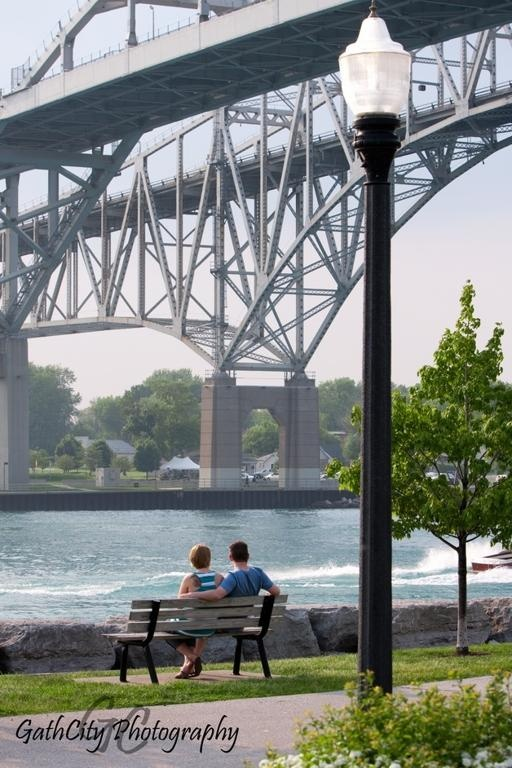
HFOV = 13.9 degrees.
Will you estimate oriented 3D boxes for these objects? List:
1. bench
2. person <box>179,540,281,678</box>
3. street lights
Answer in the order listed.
[{"bbox_3d":[-0.445,2.071,16.991,1.381,0.784,0.559,1,4,-32],"label":"bench"},{"bbox_3d":[-0.251,1.871,17.111,0.866,1.259,0.796,4,4,-6],"label":"person"},{"bbox_3d":[0.767,-0.226,13.479,0.431,4.399,0.236,0,-4,3],"label":"street lights"}]
